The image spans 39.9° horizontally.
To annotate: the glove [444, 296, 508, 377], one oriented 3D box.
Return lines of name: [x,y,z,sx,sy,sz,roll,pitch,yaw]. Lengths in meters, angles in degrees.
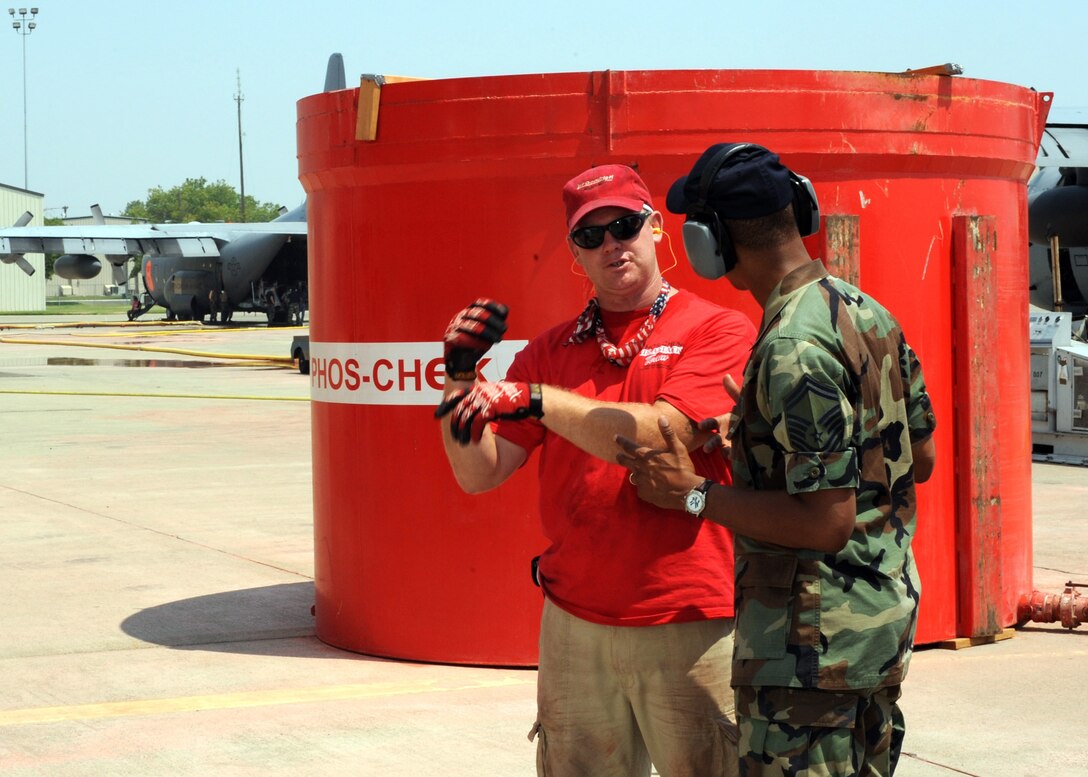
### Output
glove: [-0.228,-0.192,5.657,0.230,0.284,0.134,40,18,24]

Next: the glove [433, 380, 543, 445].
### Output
glove: [-0.206,0.062,5.544,0.349,0.190,0.138,-28,-26,18]

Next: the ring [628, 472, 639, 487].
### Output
ring: [0.321,0.322,5.356,0.053,0.035,0.049,0,-8,0]

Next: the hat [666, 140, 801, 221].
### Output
hat: [0.659,-0.736,5.234,0.363,0.163,0.275,13,28,42]
